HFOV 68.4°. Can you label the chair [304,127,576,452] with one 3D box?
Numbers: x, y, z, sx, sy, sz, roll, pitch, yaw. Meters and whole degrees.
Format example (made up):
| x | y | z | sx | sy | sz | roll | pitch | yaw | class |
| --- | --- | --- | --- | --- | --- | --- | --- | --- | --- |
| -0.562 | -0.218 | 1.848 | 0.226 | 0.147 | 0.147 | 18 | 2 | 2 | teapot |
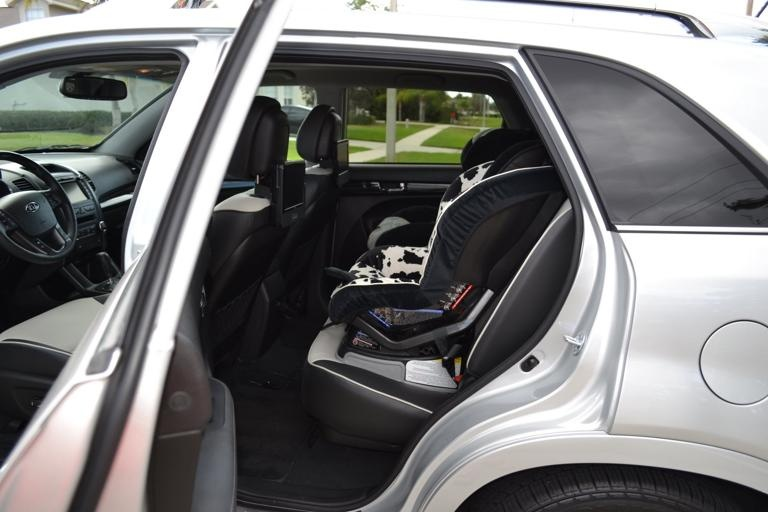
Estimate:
| x | y | z | sx | sy | sz | roll | pitch | yaw | class |
| --- | --- | --- | --- | --- | --- | --- | --- | --- | --- |
| 0.137 | -0.009 | 2.582 | 1.150 | 1.462 | 0.922 | 8 | 19 | 11 | chair |
